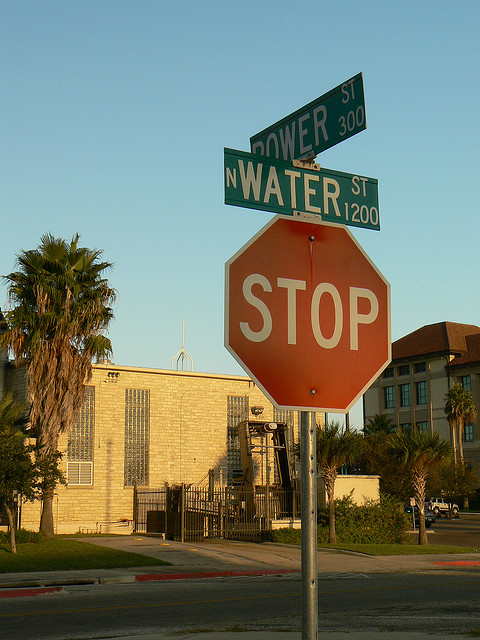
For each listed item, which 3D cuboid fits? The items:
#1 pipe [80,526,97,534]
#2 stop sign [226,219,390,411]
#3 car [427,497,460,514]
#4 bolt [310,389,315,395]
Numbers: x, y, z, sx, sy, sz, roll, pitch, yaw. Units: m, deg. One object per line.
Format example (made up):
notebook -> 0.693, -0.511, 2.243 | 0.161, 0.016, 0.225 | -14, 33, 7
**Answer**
pipe -> -5.798, 7.817, 34.956 | 0.221, 0.233, 0.707 | -5, -14, 20
stop sign -> 0.362, -0.039, 4.802 | 0.857, 0.145, 1.345 | 6, -45, 10
car -> 14.027, 13.372, 65.382 | 1.765, 1.543, 1.299 | -2, -3, -12
bolt -> 0.367, 0.364, 4.749 | 0.016, 0.025, 0.004 | 3, 6, -25
